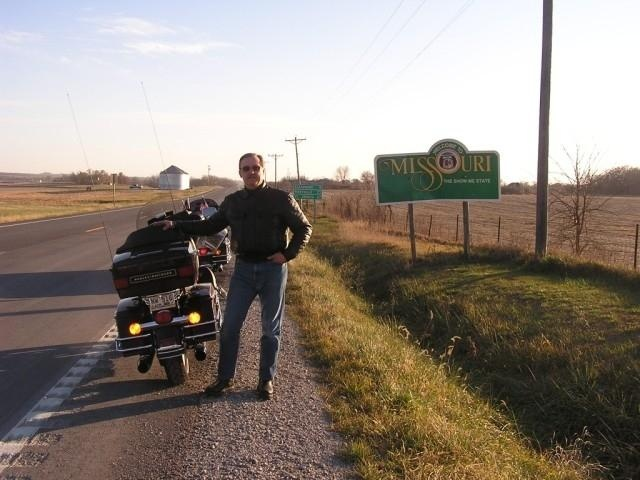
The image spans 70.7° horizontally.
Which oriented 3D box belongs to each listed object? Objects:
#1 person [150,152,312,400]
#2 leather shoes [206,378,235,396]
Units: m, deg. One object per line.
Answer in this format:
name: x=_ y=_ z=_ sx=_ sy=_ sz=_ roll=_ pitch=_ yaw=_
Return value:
person: x=-0.791 y=0.408 z=5.245 sx=1.350 sy=2.769 sz=0.651 roll=0 pitch=8 yaw=0
leather shoes: x=-1.171 y=1.706 z=5.320 sx=0.298 sy=0.261 sz=0.146 roll=3 pitch=7 yaw=-26
